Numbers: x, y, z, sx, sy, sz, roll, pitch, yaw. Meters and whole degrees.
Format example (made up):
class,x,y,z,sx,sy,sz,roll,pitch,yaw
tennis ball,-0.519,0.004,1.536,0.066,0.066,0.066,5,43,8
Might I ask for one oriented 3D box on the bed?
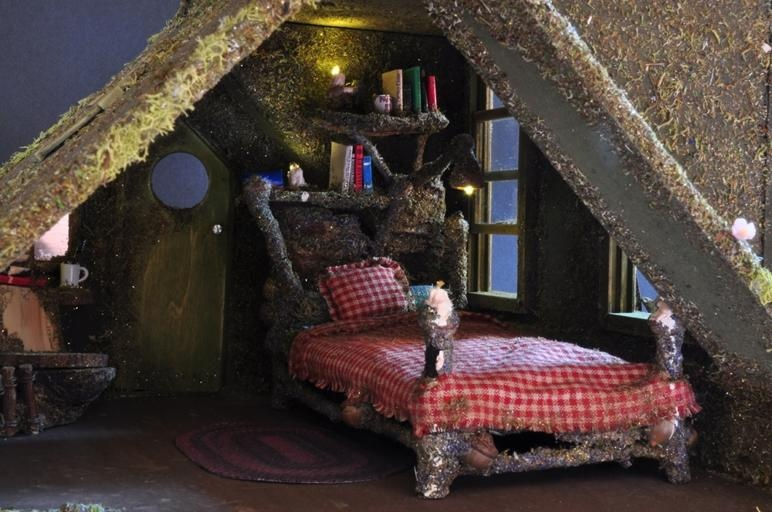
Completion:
class,x,y,z,sx,sy,sz,roll,pitch,yaw
bed,0.486,0.410,6.983,1.950,1.763,2.984,-1,2,-26

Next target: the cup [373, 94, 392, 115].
class,x,y,z,sx,sy,sz,roll,pitch,yaw
cup,-0.027,-1.240,7.818,0.149,0.174,0.149,0,11,0

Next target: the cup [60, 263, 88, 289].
class,x,y,z,sx,sy,sz,roll,pitch,yaw
cup,-2.489,0.149,7.614,0.258,0.193,0.156,-7,13,-34

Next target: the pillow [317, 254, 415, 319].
class,x,y,z,sx,sy,sz,roll,pitch,yaw
pillow,-0.148,0.287,7.725,0.613,0.212,0.698,-11,41,-20
